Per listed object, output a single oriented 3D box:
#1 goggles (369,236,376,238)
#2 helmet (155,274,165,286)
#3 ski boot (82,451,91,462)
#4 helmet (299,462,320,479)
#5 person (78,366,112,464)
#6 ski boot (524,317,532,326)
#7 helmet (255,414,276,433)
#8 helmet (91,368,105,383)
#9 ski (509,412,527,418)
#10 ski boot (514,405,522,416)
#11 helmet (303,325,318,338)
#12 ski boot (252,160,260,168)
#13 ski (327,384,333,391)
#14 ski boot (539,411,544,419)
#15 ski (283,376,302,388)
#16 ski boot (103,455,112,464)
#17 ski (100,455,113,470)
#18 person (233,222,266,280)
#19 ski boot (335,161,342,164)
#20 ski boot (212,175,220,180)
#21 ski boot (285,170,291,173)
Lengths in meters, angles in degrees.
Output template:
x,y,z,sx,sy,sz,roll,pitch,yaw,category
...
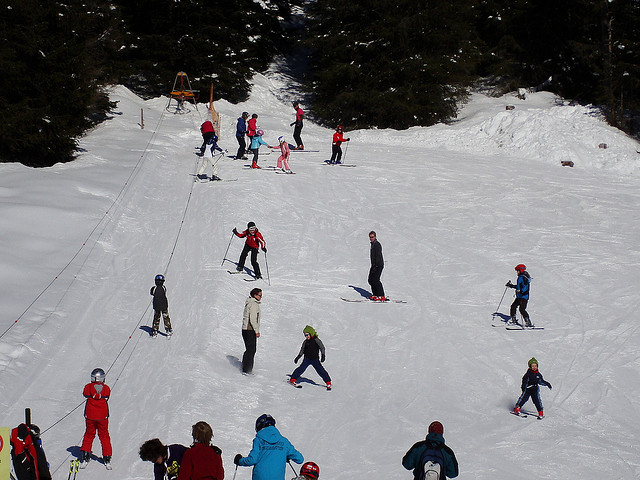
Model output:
x,y,z,sx,sy,sz,roll,pitch,yaw,category
1.670,-0.110,23.928,0.142,0.056,0.090,7,8,4,goggles
-4.583,1.149,21.223,0.248,0.279,0.284,1,-17,-6,helmet
-5.220,4.790,16.590,0.164,0.233,0.061,6,-15,-7,ski boot
-0.153,4.249,13.868,0.365,0.286,0.602,20,-19,13,helmet
-4.978,3.867,16.707,0.712,2.204,1.042,4,8,-17,person
6.526,2.558,23.457,0.274,0.133,0.463,-1,-2,16,ski boot
-1.044,3.481,14.236,0.294,0.358,0.382,8,-9,-31,helmet
-4.911,2.946,16.342,0.256,0.306,0.300,0,0,-40,helmet
5.087,4.468,19.187,0.348,0.048,0.051,14,-36,14,ski
5.136,4.330,19.267,0.157,0.266,0.402,10,8,21,ski boot
-0.244,2.296,19.008,0.295,0.184,0.211,33,-28,-15,helmet
-3.055,-3.550,34.831,0.250,0.361,0.480,9,8,20,ski boot
0.233,3.853,19.580,0.131,0.032,0.126,4,32,4,ski
5.698,4.443,19.092,0.241,0.204,0.063,-1,11,-45,ski boot
-0.709,3.727,19.654,0.500,0.209,0.149,25,16,15,ski
-4.722,4.809,16.445,0.117,0.159,0.058,1,1,-8,ski boot
-4.729,4.909,16.511,0.144,0.399,0.130,-37,-14,27,ski
-2.330,0.277,24.480,1.027,1.917,0.627,11,24,8,person
0.888,-3.852,37.091,0.235,0.138,0.468,7,8,5,ski boot
-4.613,-2.750,32.699,0.220,0.212,0.546,10,8,23,ski boot
-1.528,-3.207,34.833,0.278,0.138,0.178,9,8,15,ski boot
